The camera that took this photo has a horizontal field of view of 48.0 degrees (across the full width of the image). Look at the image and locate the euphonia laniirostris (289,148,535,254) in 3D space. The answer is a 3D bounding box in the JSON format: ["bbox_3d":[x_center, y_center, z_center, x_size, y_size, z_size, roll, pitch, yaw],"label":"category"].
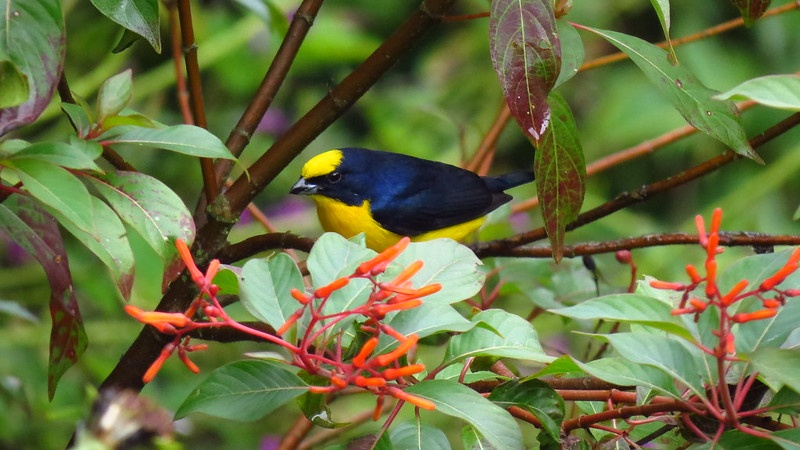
[{"bbox_3d":[-0.034,-0.166,6.571,1.497,0.716,0.484,6,12,-9],"label":"euphonia laniirostris"}]
